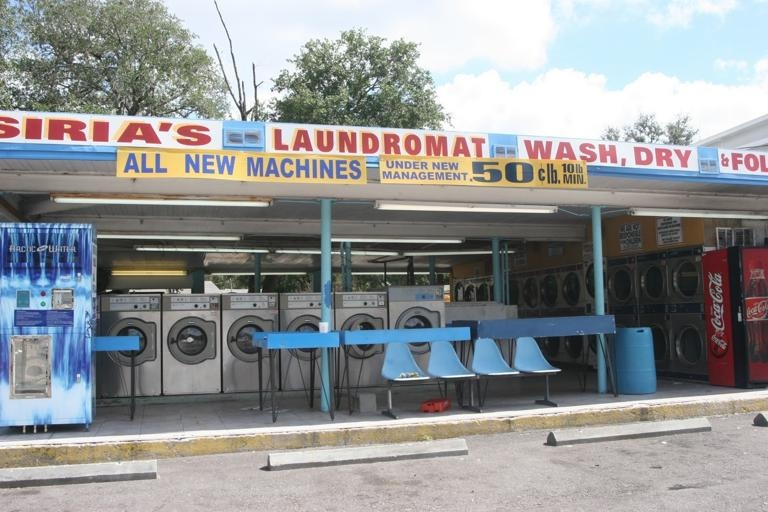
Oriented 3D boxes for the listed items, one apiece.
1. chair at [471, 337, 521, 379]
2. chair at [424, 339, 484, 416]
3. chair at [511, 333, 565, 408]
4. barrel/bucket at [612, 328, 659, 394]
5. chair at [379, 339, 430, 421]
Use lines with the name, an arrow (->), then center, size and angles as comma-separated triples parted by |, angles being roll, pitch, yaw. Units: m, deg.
chair -> 1.787, 1.678, 11.377 | 0.759, 0.544, 0.825 | 1, 0, -10
chair -> 1.198, 2.004, 11.642 | 0.800, 1.125, 1.640 | -2, -7, 7
chair -> 2.569, 1.935, 11.516 | 0.753, 1.109, 0.843 | 3, -4, -4
barrel/bucket -> 4.527, 1.864, 12.232 | 0.731, 1.174, 0.324 | 1, -7, -16
chair -> 0.311, 1.999, 11.213 | 0.690, 1.168, 1.260 | 0, -7, -9
